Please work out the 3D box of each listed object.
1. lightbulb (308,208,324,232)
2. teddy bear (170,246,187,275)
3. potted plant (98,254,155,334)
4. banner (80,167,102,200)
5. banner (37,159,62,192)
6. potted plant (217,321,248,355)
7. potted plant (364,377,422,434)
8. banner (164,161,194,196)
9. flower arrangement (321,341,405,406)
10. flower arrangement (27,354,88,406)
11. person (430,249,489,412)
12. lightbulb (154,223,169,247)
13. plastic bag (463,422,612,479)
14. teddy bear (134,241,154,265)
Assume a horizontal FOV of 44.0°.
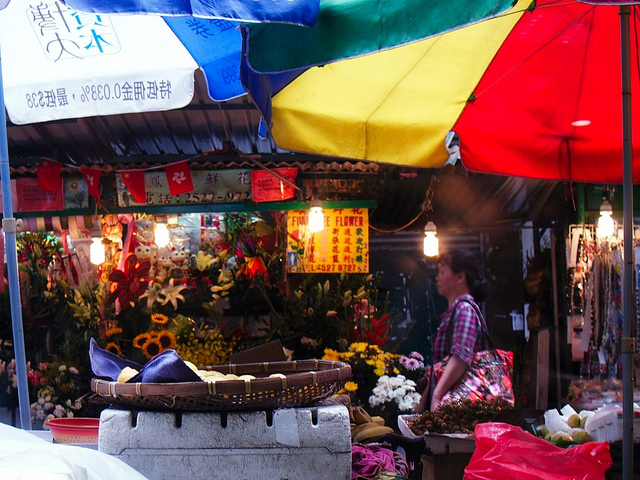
[{"bbox_3d":[-0.042,-0.198,7.932,0.174,0.318,0.177,1,-12,-1],"label":"lightbulb"},{"bbox_3d":[-1.522,0.255,8.494,0.162,0.355,0.229,2,-16,-8],"label":"teddy bear"},{"bbox_3d":[-2.027,0.437,8.277,0.644,0.280,0.606,-11,22,19],"label":"potted plant"},{"bbox_3d":[-2.438,-0.610,8.395,0.233,0.335,0.025,-14,0,-38],"label":"banner"},{"bbox_3d":[-2.872,-0.696,8.360,0.210,0.338,0.091,13,8,-4],"label":"banner"},{"bbox_3d":[-0.846,1.042,8.343,0.191,0.297,0.221,-19,-14,21],"label":"potted plant"},{"bbox_3d":[0.607,1.417,6.736,0.390,0.464,0.409,5,-11,-31],"label":"potted plant"},{"bbox_3d":[-1.503,-0.633,8.392,0.296,0.453,0.008,-4,-39,-11],"label":"banner"},{"bbox_3d":[0.429,1.166,7.161,0.534,0.464,0.567,-3,1,4],"label":"flower arrangement"},{"bbox_3d":[-2.711,1.480,8.268,0.524,0.707,0.482,-2,5,-2],"label":"flower arrangement"},{"bbox_3d":[1.249,0.852,7.085,0.347,1.559,0.554,1,-34,10],"label":"person"},{"bbox_3d":[-1.664,-0.055,8.331,0.181,0.328,0.188,-2,1,4],"label":"lightbulb"},{"bbox_3d":[1.379,1.388,4.973,0.567,0.227,0.453,-3,-17,8],"label":"plastic bag"},{"bbox_3d":[-1.903,0.138,8.540,0.188,0.215,0.359,2,37,-8],"label":"teddy bear"}]
